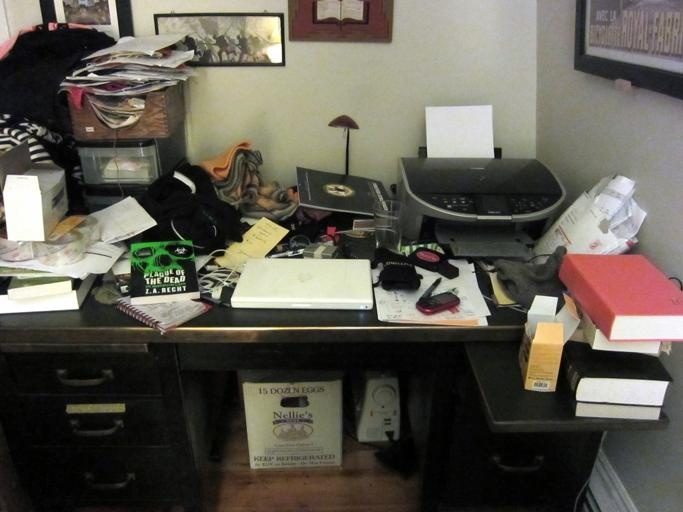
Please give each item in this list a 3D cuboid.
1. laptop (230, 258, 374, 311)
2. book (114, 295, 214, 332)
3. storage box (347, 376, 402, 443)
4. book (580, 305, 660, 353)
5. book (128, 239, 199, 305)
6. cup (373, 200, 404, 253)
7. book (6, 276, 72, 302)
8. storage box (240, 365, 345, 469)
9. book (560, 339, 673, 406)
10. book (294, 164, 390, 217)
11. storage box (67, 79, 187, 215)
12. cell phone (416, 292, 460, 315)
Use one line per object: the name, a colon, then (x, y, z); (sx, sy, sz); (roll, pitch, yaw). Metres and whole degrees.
laptop: (-0.096, 0.079, 1.545); (0.267, 0.026, 0.181); (0, 27, 1)
book: (-0.499, 0.149, 1.472); (0.144, 0.033, 0.123); (19, 34, 25)
storage box: (0.097, 0.602, 2.115); (0.197, 0.270, 0.283); (14, -15, -26)
book: (0.676, 0.208, 1.345); (0.131, 0.030, 0.127); (3, 23, 5)
book: (-0.518, 0.044, 1.556); (0.185, 0.125, 0.181); (-8, 25, -13)
cup: (0.151, -0.083, 1.849); (0.126, 0.185, 0.124); (-2, 0, 0)
book: (-0.813, 0.084, 1.445); (0.095, 0.022, 0.095); (-8, 12, -40)
storage box: (-0.166, 0.595, 1.930); (0.340, 0.323, 0.114); (-1, 14, 3)
book: (0.705, 0.307, 1.347); (0.197, 0.081, 0.252); (0, 6, 28)
book: (-0.004, -0.235, 1.983); (0.256, 0.056, 0.243); (4, 36, -13)
storage box: (-0.657, -0.390, 1.990); (0.525, 0.484, 0.379); (-2, 18, -3)
cell phone: (0.267, 0.128, 1.501); (0.105, 0.022, 0.053); (-11, 29, -8)
